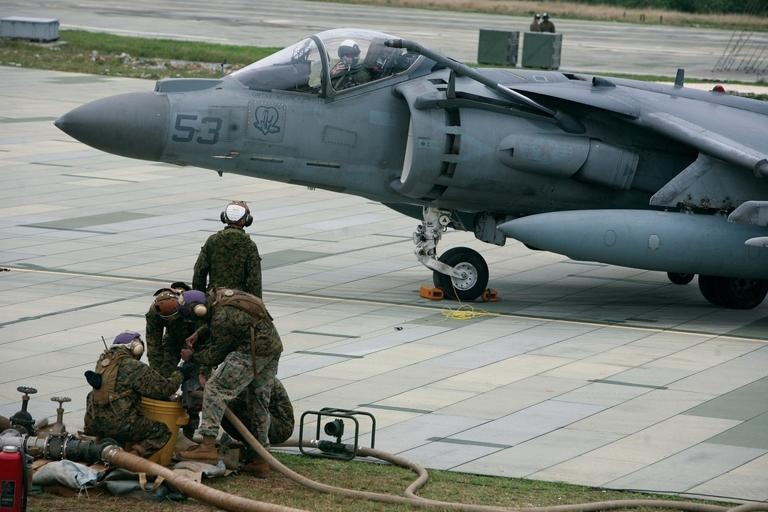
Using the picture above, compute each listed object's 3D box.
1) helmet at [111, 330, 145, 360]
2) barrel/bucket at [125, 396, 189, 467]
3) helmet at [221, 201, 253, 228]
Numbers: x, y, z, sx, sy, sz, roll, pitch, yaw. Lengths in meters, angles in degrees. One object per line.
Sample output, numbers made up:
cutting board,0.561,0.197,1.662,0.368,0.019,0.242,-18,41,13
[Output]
helmet,-3.298,1.124,13.499,0.380,0.346,0.341,6,17,-3
barrel/bucket,-2.853,2.222,13.472,0.608,0.879,0.552,4,20,-14
helmet,-2.078,-0.599,14.968,0.743,0.324,0.432,3,39,-3
